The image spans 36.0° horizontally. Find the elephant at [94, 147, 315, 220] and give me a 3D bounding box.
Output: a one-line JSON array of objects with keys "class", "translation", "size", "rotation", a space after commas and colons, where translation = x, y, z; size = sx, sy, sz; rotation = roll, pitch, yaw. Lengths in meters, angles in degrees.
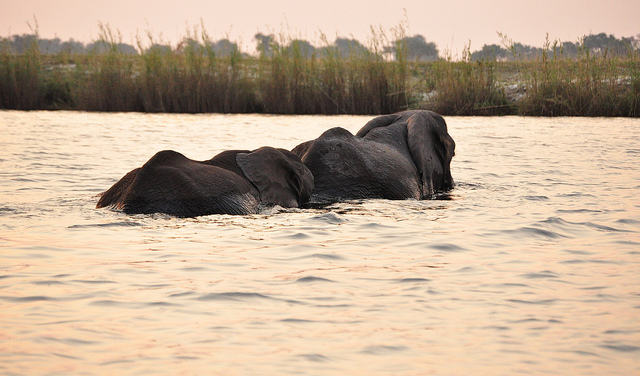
[{"class": "elephant", "translation": [-1.697, -0.097, 16.561], "size": [2.979, 0.706, 1.544], "rotation": [-3, 8, -36]}]

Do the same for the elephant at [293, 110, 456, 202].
[{"class": "elephant", "translation": [1.116, -0.625, 18.340], "size": [1.690, 1.616, 2.941], "rotation": [5, 7, 37]}]
